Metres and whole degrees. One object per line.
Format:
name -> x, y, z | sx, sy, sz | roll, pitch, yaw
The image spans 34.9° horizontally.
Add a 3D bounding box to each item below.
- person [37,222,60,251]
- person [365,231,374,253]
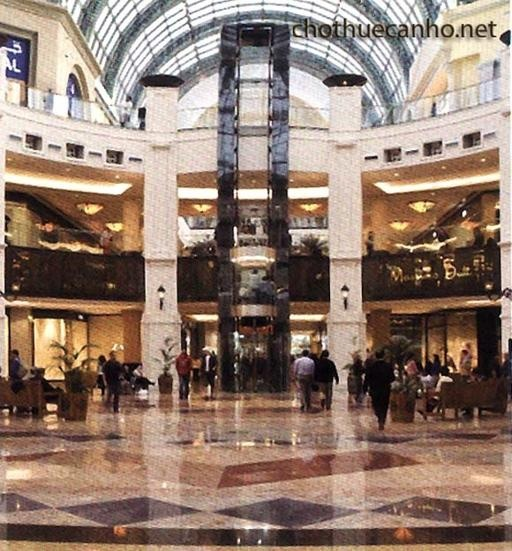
person -> -6.825, -1.287, 26.455 | 0.678, 0.826, 0.329 | 3, -10, -36
person -> 4.048, -1.154, 29.092 | 0.277, 0.864, 0.918 | 0, -6, 7
